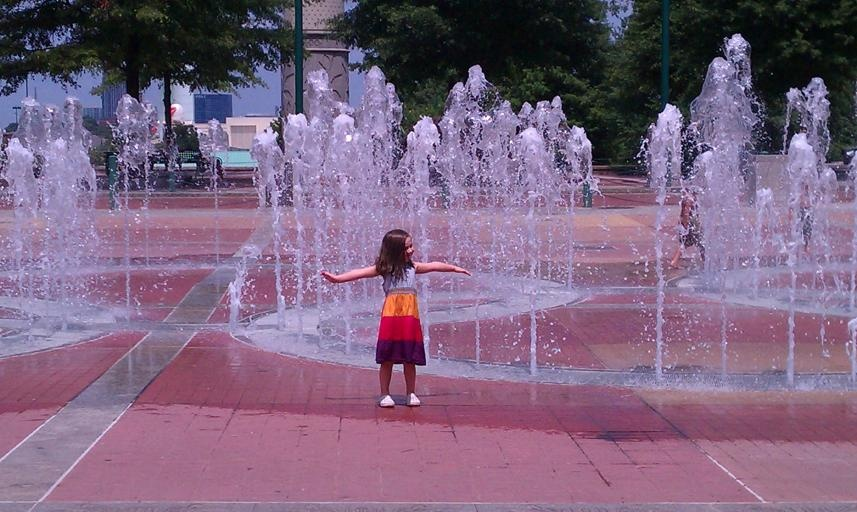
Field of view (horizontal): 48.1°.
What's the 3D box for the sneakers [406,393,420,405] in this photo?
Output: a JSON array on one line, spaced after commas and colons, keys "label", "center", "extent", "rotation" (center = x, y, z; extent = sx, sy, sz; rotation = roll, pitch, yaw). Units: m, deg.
[{"label": "sneakers", "center": [-0.188, 1.762, 11.876], "extent": [0.179, 0.156, 0.268], "rotation": [-1, 9, -4]}]
